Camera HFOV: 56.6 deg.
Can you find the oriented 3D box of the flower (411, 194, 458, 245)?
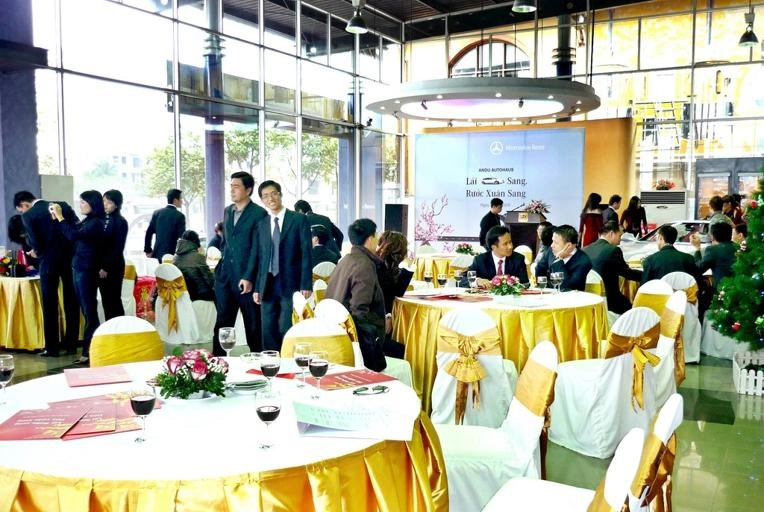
[{"bbox_3d":[1.182,-0.878,15.805,0.872,1.004,0.589,-9,11,25],"label":"flower"}]

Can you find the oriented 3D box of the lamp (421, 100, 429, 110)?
[{"bbox_3d":[0.715,-2.551,12.048,0.142,0.157,0.087,-23,22,-15],"label":"lamp"}]

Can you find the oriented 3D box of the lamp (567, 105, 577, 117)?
[{"bbox_3d":[3.438,-2.593,12.710,0.245,0.094,0.180,-3,0,22],"label":"lamp"}]

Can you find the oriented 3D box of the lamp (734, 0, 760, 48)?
[{"bbox_3d":[7.333,-4.656,14.108,0.297,1.083,1.332,2,7,29],"label":"lamp"}]

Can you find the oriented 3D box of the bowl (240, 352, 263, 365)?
[{"bbox_3d":[-0.906,0.713,4.946,0.108,0.044,0.102,-2,5,0],"label":"bowl"}]

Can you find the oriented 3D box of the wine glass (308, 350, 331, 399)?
[{"bbox_3d":[-0.435,0.795,4.828,0.111,0.275,0.266,-2,6,-4],"label":"wine glass"}]

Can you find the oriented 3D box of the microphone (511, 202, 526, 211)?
[{"bbox_3d":[2.864,-1.020,14.840,0.248,0.112,0.248,8,-10,-42],"label":"microphone"}]

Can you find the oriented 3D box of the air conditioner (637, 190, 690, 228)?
[{"bbox_3d":[6.161,-0.910,15.586,0.946,0.926,0.543,1,-27,22],"label":"air conditioner"}]

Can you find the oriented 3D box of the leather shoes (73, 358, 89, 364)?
[{"bbox_3d":[-3.507,1.221,8.249,0.149,0.057,0.078,8,-7,-33],"label":"leather shoes"}]

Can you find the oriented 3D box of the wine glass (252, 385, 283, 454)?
[{"bbox_3d":[-0.709,0.990,4.396,0.151,0.331,0.291,-2,6,-10],"label":"wine glass"}]

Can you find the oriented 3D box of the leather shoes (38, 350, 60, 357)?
[{"bbox_3d":[-4.142,1.204,8.771,0.276,0.119,0.096,0,3,9],"label":"leather shoes"}]
